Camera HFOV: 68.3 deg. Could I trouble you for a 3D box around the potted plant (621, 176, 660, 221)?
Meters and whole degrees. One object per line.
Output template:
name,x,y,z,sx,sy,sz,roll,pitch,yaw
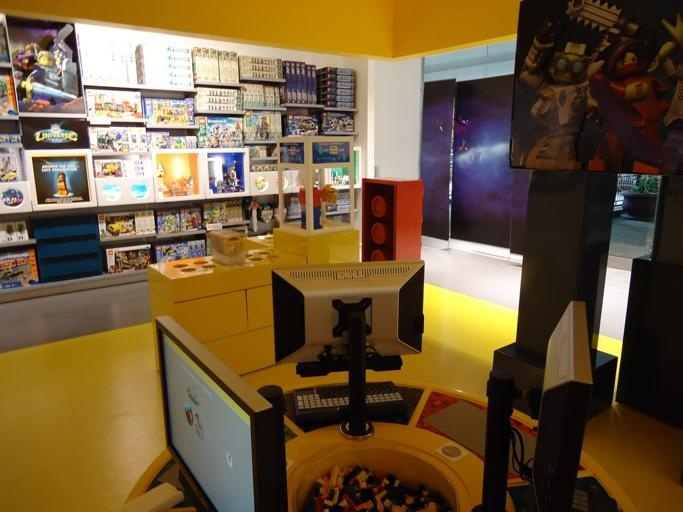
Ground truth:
potted plant,3.801,-0.765,6.341,0.494,0.582,0.498,9,14,41

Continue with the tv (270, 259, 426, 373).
tv,0.035,0.299,2.538,0.804,0.597,0.168,-2,12,-8
